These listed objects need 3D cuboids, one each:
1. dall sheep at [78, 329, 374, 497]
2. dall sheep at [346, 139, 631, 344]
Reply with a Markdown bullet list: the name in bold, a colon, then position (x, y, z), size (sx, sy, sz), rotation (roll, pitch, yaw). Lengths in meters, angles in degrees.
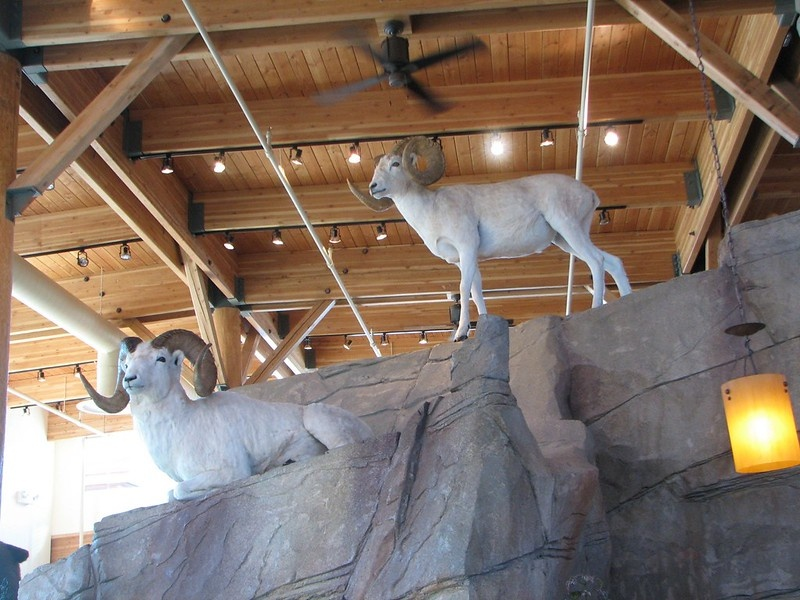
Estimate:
- **dall sheep**: position (-1.114, 0.745, 5.313), size (1.840, 1.012, 0.683), rotation (9, -22, -40)
- **dall sheep**: position (0.721, -0.502, 6.794), size (2.104, 1.599, 0.758), rotation (-2, -5, 3)
